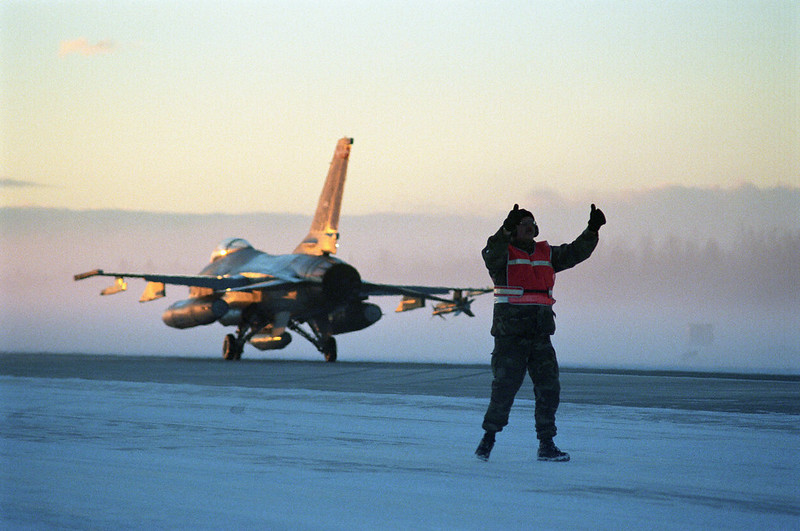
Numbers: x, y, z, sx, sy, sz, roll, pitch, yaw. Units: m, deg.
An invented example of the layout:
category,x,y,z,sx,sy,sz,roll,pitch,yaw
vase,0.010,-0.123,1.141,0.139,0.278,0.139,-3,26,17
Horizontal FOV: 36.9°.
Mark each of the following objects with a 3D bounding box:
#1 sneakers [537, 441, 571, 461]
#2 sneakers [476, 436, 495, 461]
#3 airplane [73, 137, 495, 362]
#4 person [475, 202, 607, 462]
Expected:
category,x,y,z,sx,sy,sz,roll,pitch,yaw
sneakers,1.617,1.985,12.793,0.465,0.240,0.137,-1,-2,9
sneakers,0.941,1.924,12.792,0.124,0.163,0.368,7,6,9
airplane,-3.425,0.745,36.800,9.150,3.893,9.453,2,-1,-31
person,1.447,0.667,13.322,1.171,2.182,1.441,6,3,24
